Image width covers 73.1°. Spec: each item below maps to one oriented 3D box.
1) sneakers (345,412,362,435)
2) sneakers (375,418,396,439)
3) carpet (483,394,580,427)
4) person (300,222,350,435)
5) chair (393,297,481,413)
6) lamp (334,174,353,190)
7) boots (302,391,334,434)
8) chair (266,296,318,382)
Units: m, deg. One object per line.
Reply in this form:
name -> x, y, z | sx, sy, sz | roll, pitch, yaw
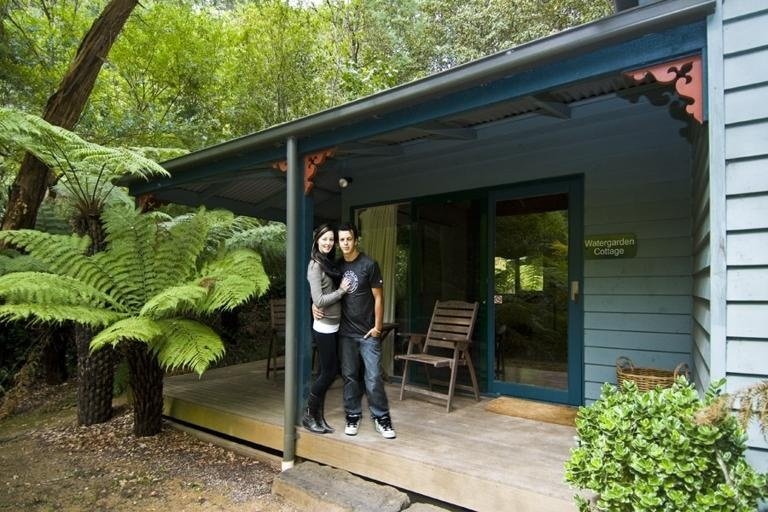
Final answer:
sneakers -> -0.345, 1.798, 5.562 | 0.154, 0.206, 0.214 | 6, -5, -3
sneakers -> 0.021, 1.804, 5.477 | 0.244, 0.198, 0.255 | 5, -5, 5
carpet -> 1.737, 1.822, 6.167 | 1.059, 0.149, 0.622 | 3, -5, 28
person -> -0.667, 0.779, 5.616 | 0.456, 2.242, 0.459 | 6, -5, -7
chair -> 0.640, 1.192, 6.406 | 1.213, 1.202, 1.204 | 0, -1, 0
lamp -> -0.640, -1.194, 8.249 | 0.184, 0.126, 0.317 | 17, 8, 0
boots -> -0.647, 1.742, 5.766 | 0.443, 0.422, 0.285 | 1, -3, 27
chair -> -1.355, 1.245, 7.750 | 0.941, 1.224, 1.003 | 5, -7, -42
